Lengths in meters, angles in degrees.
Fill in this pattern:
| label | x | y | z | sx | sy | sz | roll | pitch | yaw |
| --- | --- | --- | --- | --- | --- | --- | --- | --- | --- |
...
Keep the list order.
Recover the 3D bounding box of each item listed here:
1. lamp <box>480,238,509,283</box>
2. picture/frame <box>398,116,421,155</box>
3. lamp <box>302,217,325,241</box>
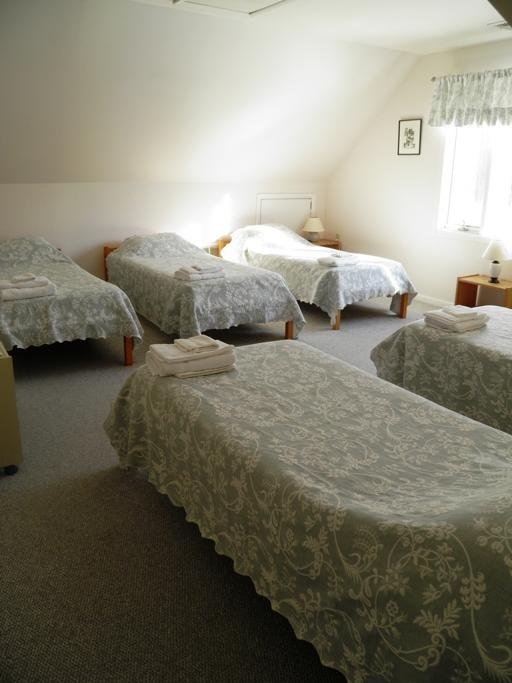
| label | x | y | z | sx | sy | sz | roll | pitch | yaw |
| --- | --- | --- | --- | --- | --- | --- | --- | --- | --- |
| lamp | 2.214 | -0.749 | 4.710 | 0.224 | 0.386 | 0.392 | 6 | 15 | 25 |
| picture/frame | 1.660 | -2.221 | 5.494 | 0.018 | 0.476 | 0.392 | -10 | 18 | -29 |
| lamp | 0.712 | -1.478 | 6.631 | 0.314 | 0.322 | 0.314 | -5 | 27 | -7 |
